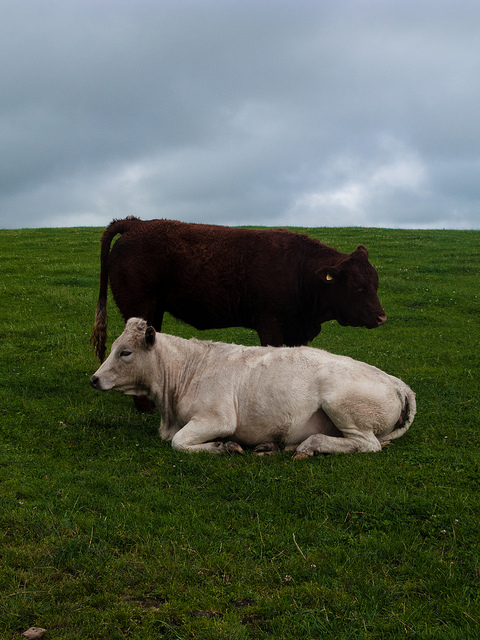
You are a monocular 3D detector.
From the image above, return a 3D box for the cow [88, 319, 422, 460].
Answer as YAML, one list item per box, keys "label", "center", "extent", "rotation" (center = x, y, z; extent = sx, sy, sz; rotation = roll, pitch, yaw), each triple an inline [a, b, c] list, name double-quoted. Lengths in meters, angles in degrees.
- label: "cow"
  center: [0.124, 0.898, 11.058]
  extent: [4.171, 1.626, 1.421]
  rotation: [1, 2, -2]
